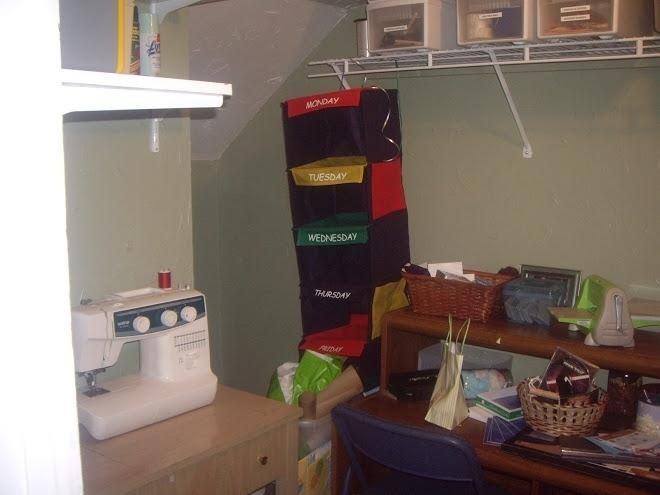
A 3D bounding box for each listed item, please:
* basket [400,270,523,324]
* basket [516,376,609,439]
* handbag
[{"bbox_3d":[0.459,0.165,1.944,0.254,0.114,0.199,3,4,31],"label":"basket"},{"bbox_3d":[0.670,0.476,1.548,0.154,0.079,0.181,-3,7,-12],"label":"basket"},{"bbox_3d":[0.390,0.406,1.696,0.100,0.288,0.095,15,19,36],"label":"handbag"}]
